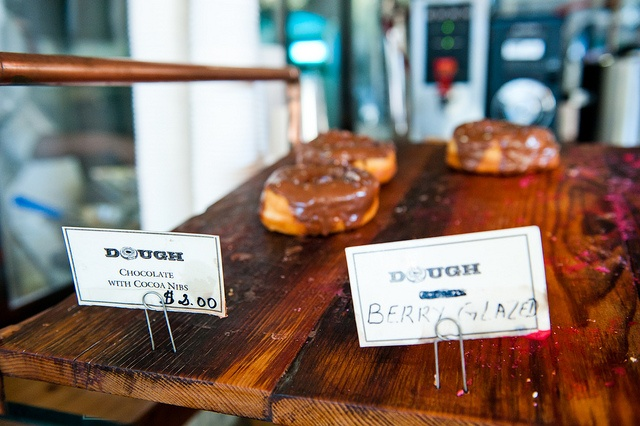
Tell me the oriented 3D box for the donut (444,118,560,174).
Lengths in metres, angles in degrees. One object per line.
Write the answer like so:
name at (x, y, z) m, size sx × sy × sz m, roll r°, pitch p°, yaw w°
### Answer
donut at (0.594, -0.228, 1.662) m, size 0.274 × 0.096 × 0.189 m, roll 1°, pitch 15°, yaw 14°

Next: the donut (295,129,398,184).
donut at (0.079, -0.169, 1.562) m, size 0.391 × 0.113 × 0.375 m, roll 0°, pitch 6°, yaw -8°
